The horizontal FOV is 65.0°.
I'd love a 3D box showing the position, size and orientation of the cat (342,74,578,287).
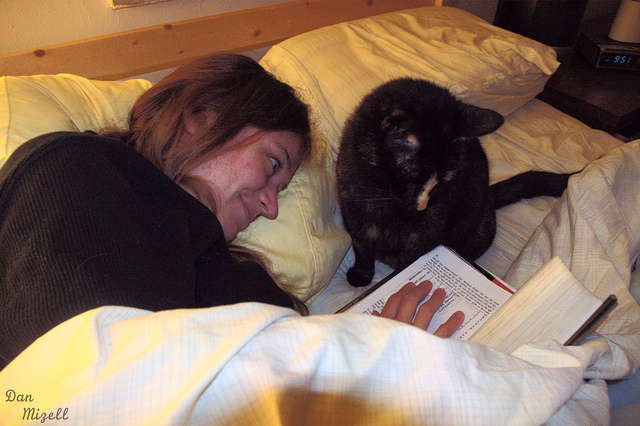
[{"bbox_3d":[0.392,-0.179,1.916,0.549,0.661,0.900,8,31,16],"label":"cat"}]
